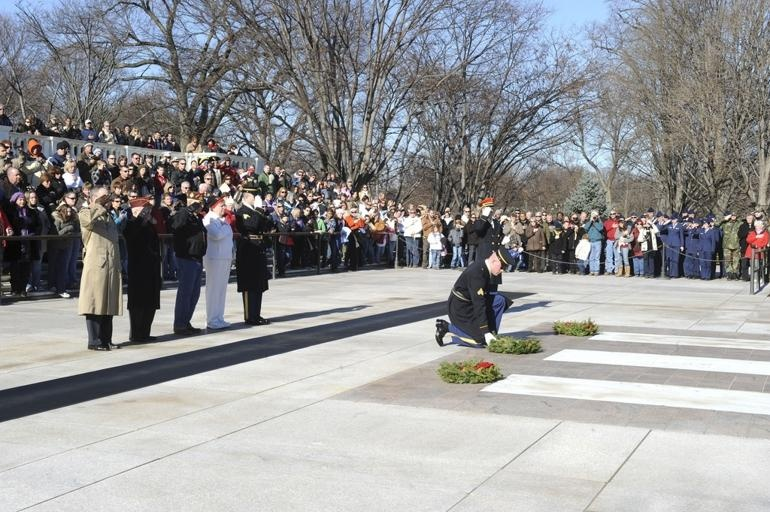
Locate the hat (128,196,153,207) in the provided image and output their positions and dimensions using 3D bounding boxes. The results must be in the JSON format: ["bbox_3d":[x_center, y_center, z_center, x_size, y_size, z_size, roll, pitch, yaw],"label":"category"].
[{"bbox_3d":[-4.158,-0.926,14.887,0.366,0.167,0.323,-2,9,-15],"label":"hat"}]

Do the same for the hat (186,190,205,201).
[{"bbox_3d":[-3.454,-1.103,15.834,0.263,0.219,0.208,0,11,13],"label":"hat"}]

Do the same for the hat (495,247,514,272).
[{"bbox_3d":[1.974,0.013,14.618,0.304,0.324,0.580,2,8,6],"label":"hat"}]

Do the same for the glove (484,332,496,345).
[{"bbox_3d":[1.746,1.359,14.601,0.207,0.188,0.049,-36,5,-28],"label":"glove"}]

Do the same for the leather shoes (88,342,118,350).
[{"bbox_3d":[-4.635,1.471,14.368,0.425,0.151,0.154,0,-1,-2],"label":"leather shoes"}]

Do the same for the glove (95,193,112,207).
[{"bbox_3d":[-4.590,-0.923,14.291,0.202,0.204,0.376,1,8,2],"label":"glove"}]
